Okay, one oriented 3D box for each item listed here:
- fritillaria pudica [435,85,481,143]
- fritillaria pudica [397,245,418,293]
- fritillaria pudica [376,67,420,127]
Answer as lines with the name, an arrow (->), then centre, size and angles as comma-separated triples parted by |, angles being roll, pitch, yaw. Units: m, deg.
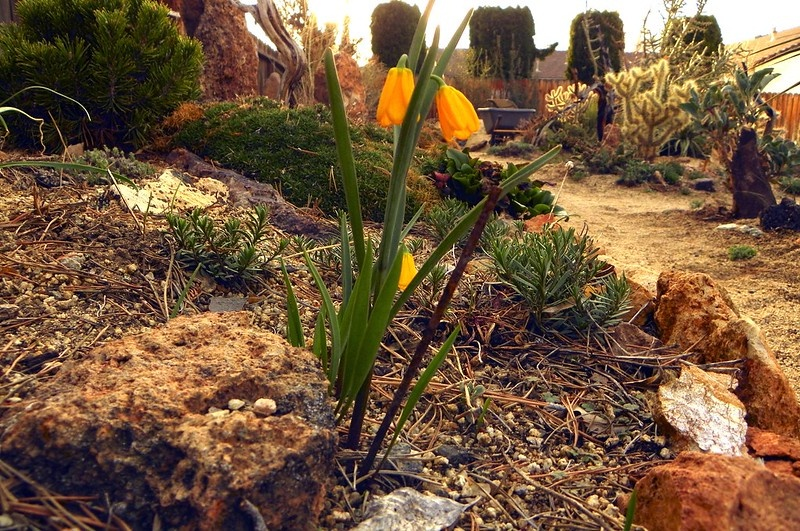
fritillaria pudica -> 0.261, -0.677, 2.662 | 0.192, 0.251, 0.202 | 9, 21, 20
fritillaria pudica -> 0.030, 0.000, 2.865 | 0.093, 0.224, 0.092 | 12, 27, 24
fritillaria pudica -> -0.014, -0.703, 2.610 | 0.130, 0.303, 0.141 | -5, 11, -28
